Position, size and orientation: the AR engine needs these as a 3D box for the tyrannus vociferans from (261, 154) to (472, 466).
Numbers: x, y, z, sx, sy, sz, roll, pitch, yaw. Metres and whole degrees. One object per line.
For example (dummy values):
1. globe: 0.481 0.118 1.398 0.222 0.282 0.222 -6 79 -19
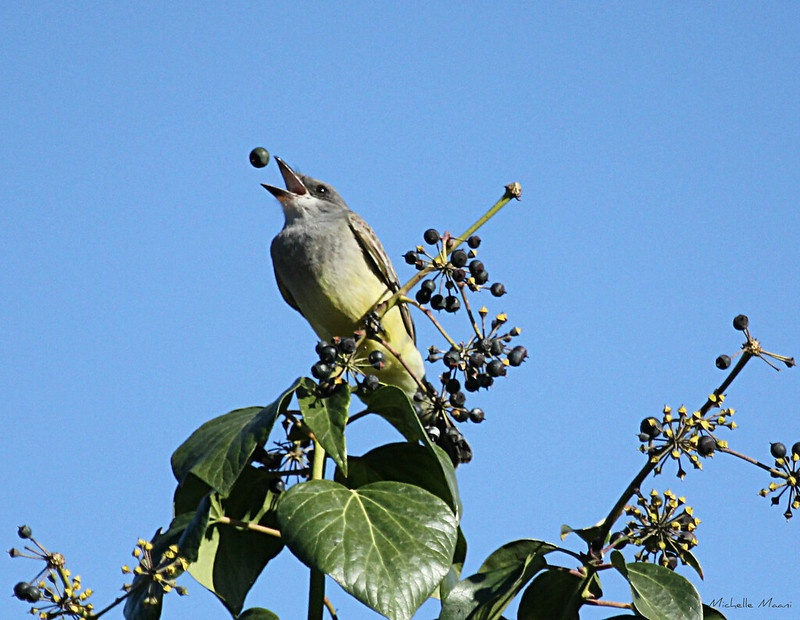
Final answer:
1. tyrannus vociferans: -0.165 0.150 6.713 0.486 1.554 0.670 -33 -32 10
